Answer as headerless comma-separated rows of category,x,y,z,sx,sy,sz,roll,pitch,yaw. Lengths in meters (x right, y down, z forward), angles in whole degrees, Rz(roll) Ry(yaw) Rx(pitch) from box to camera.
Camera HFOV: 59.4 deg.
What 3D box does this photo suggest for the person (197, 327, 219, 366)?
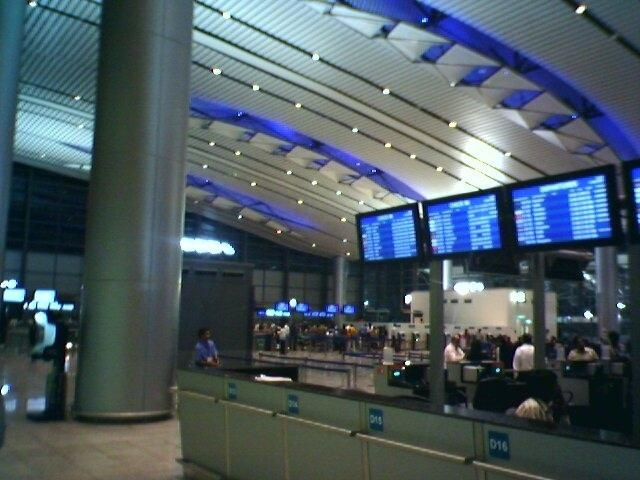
person,-2.342,2.202,11.462,0.464,0.777,1.537,-4,-9,-12
